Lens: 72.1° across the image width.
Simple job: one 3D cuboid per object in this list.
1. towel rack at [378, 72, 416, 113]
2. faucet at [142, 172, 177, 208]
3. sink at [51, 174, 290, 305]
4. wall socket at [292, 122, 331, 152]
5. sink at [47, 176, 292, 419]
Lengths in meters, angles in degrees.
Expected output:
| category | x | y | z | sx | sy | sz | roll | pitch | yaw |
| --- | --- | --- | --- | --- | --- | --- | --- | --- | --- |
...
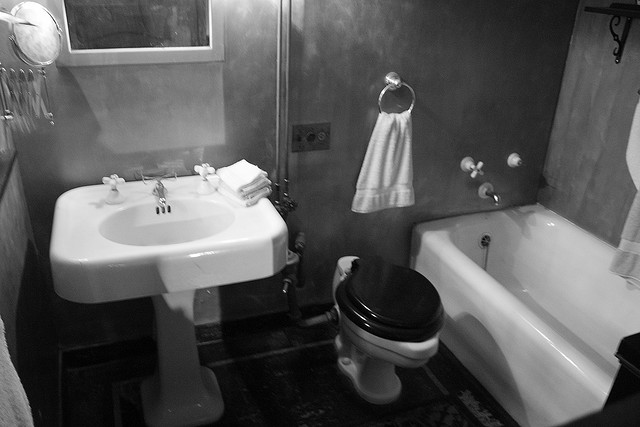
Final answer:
| category | x | y | z | sx | sy | sz | roll | pitch | yaw |
| --- | --- | --- | --- | --- | --- | --- | --- | --- | --- |
| towel rack | 0.413 | -0.632 | 2.323 | 0.210 | 0.203 | 0.067 | -7 | 30 | -13 |
| faucet | -0.727 | -0.114 | 2.033 | 0.130 | 0.096 | 0.186 | -8 | 44 | -26 |
| sink | -0.649 | 0.058 | 1.914 | 0.947 | 0.247 | 0.600 | -7 | 31 | -13 |
| wall socket | -0.042 | -0.394 | 2.289 | 0.204 | 0.147 | 0.027 | -6 | 13 | -22 |
| sink | -0.724 | 0.392 | 2.013 | 0.838 | 0.950 | 0.663 | -6 | 34 | -14 |
